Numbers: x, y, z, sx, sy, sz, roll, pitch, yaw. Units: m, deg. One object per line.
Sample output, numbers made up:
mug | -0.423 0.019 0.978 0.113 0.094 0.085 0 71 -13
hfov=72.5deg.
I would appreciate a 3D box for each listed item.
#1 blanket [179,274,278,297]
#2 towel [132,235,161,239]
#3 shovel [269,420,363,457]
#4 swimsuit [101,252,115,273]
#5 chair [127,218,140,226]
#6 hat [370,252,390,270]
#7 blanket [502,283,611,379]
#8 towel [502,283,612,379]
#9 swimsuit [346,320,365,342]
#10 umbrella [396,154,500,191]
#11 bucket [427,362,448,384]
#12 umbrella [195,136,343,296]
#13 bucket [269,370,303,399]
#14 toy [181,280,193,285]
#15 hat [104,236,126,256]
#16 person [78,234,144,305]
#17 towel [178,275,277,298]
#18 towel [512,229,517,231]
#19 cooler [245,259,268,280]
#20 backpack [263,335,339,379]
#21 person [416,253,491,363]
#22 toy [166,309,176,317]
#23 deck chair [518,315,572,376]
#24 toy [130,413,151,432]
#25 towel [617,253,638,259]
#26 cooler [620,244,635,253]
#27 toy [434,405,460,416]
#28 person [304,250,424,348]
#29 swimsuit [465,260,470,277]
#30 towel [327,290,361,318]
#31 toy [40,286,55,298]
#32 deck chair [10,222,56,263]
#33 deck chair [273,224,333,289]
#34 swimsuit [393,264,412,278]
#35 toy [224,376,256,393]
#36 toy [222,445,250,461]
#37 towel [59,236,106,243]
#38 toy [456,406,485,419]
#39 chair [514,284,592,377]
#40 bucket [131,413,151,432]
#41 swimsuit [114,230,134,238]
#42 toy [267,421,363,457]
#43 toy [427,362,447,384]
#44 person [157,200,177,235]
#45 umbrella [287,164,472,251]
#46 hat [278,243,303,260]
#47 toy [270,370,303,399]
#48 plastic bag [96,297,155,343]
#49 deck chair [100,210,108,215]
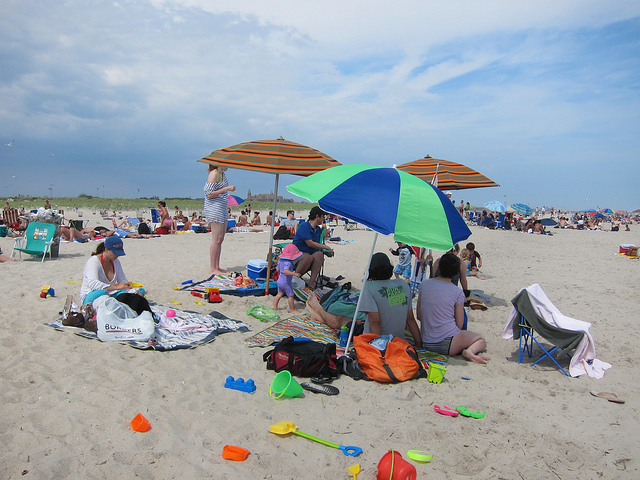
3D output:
blanket | -1.777 0.753 8.263 1.590 0.287 1.340 -2 12 -29
towel | -6.120 -0.103 15.497 0.594 0.063 1.278 5 3 24
shovel | -0.060 1.939 4.355 0.925 0.280 0.093 21 24 2
swimsuit | -3.106 0.307 6.365 0.223 0.268 0.071 2 11 -5
chair | -8.285 -0.839 19.292 0.417 0.284 0.407 2 -2 -17
hat | 0.767 0.272 5.672 0.271 0.210 0.213 3 3 -16
blanket | 3.152 1.157 5.901 1.236 0.809 1.313 1 -1 29
towel | 3.280 1.184 6.104 1.186 1.201 1.165 15 9 19
swimsuit | 0.491 1.240 6.034 0.235 0.290 0.282 1 27 -3
umbrella | 2.191 -1.322 8.532 2.289 0.740 2.154 3 3 27
bucket | 1.407 1.629 5.393 0.226 0.170 0.191 28 -12 -31
umbrella | -0.429 -0.685 7.133 2.101 1.947 1.999 0 7 -43
bucket | -0.398 1.620 4.937 0.246 0.318 0.312 35 14 -37
toy | -2.591 0.807 8.479 0.070 0.062 0.249 16 9 15
hat | -2.990 0.068 6.338 0.250 0.263 0.197 2 3 -26
person | -3.043 0.417 6.327 0.744 0.999 0.599 4 3 -8
towel | -1.803 0.763 8.332 1.563 0.281 1.314 -2 12 -28
towel | 13.107 -0.719 29.506 0.224 0.224 0.227 -21 28 -5
cooler | -1.217 0.550 8.320 0.415 0.373 0.354 0 -3 23
backpack | -0.242 1.415 5.403 0.677 0.259 0.495 3 3 12
person | 1.968 1.047 6.538 1.281 1.158 0.772 11 19 40
toy | -2.213 1.079 6.474 0.093 0.086 0.106 18 -8 10
deck chair | 2.977 1.334 6.008 0.741 0.727 0.696 8 9 23
toy | -1.785 1.800 4.334 0.159 0.135 0.151 41 -41 -17
towel | 10.348 0.501 14.807 0.342 0.142 0.707 4 3 2
cooler | 10.519 0.253 15.005 0.398 0.257 0.372 -2 3 -36
toy | 1.376 1.855 4.775 0.147 0.027 0.096 7 1 33
person | 0.474 0.805 6.358 0.878 1.159 1.959 -1 3 -40
swimsuit | 3.609 0.708 10.684 0.078 0.239 0.192 5 3 17
towel | 0.378 0.971 6.721 0.647 0.317 0.590 -1 14 4
toy | -4.520 0.853 7.251 0.156 0.154 0.196 14 -3 -29
deck chair | -6.486 0.048 9.964 0.716 0.689 0.862 9 14 -4
deck chair | -0.270 0.218 8.374 1.067 1.386 0.949 11 12 -14
swimsuit | 1.640 0.608 8.925 0.428 0.369 0.231 2 -3 3
toy | -0.913 1.644 5.014 0.356 0.121 0.148 5 3 20
toy | -0.797 1.989 4.096 0.160 0.053 0.124 2 3 12
towel | -7.708 -0.016 14.021 1.456 0.147 0.878 3 3 -9
toy | 1.617 1.858 4.737 0.172 0.038 0.103 2 3 26
chair | 3.116 1.131 6.267 1.304 1.334 1.095 0 5 29
bucket | -1.773 1.809 4.364 0.153 0.145 0.130 42 27 -16
swimsuit | -6.199 -0.197 13.781 0.645 0.178 0.449 3 1 17
toy | -0.063 1.937 4.295 0.915 0.094 0.323 15 6 25
toy | 1.427 1.626 5.406 0.238 0.175 0.189 20 -1 3
person | -6.299 -0.941 18.069 0.716 1.271 2.222 3 3 -20
umbrella | 0.874 -0.587 5.824 2.201 0.683 2.141 5 23 -33
hat | -0.482 0.192 7.106 0.267 0.125 0.281 24 25 33
toy | -0.363 1.627 4.963 0.357 0.292 0.231 1 4 -45
plastic bag | -2.563 1.051 5.783 0.709 0.506 0.422 3 3 -18
deck chair | -16.597 -2.103 33.393 0.859 0.280 0.826 -1 1 -27
